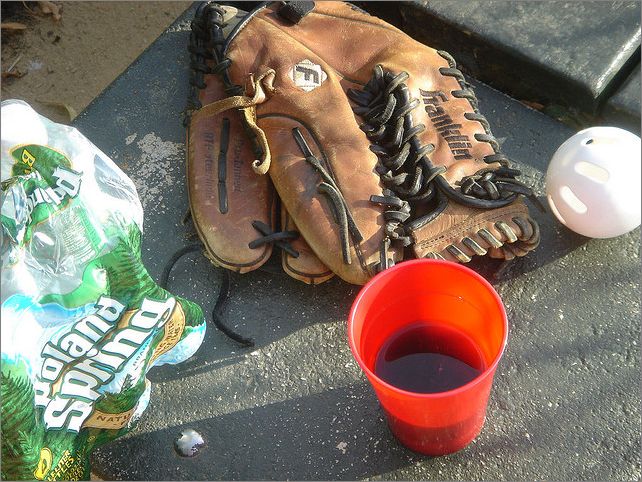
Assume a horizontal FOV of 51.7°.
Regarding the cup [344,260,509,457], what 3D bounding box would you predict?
[{"bbox_3d":[0.211,0.234,1.302,0.303,0.323,0.270,33,66,19],"label":"cup"}]
